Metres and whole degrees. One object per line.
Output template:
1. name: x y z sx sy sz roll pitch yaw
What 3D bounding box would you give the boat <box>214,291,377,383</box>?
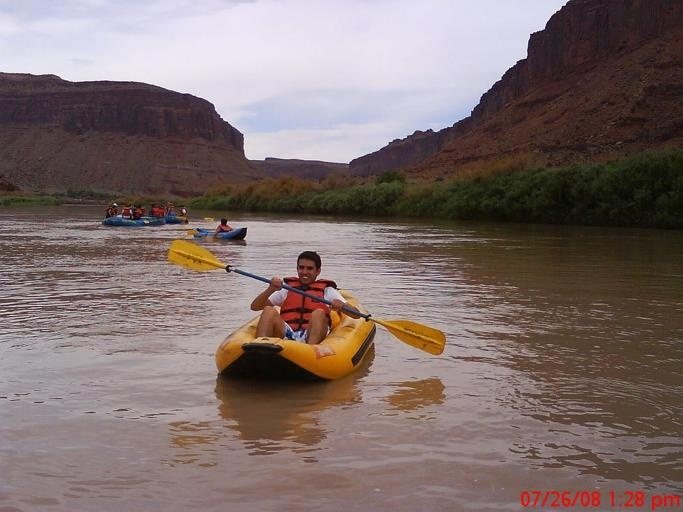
1. boat: -0.467 1.162 9.277 1.706 0.704 2.744 9 13 40

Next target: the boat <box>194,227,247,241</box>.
1. boat: -5.681 -0.981 30.985 3.203 0.425 1.065 1 2 34

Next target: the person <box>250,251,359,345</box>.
1. person: -0.553 0.696 9.207 1.508 0.960 2.054 5 19 7
